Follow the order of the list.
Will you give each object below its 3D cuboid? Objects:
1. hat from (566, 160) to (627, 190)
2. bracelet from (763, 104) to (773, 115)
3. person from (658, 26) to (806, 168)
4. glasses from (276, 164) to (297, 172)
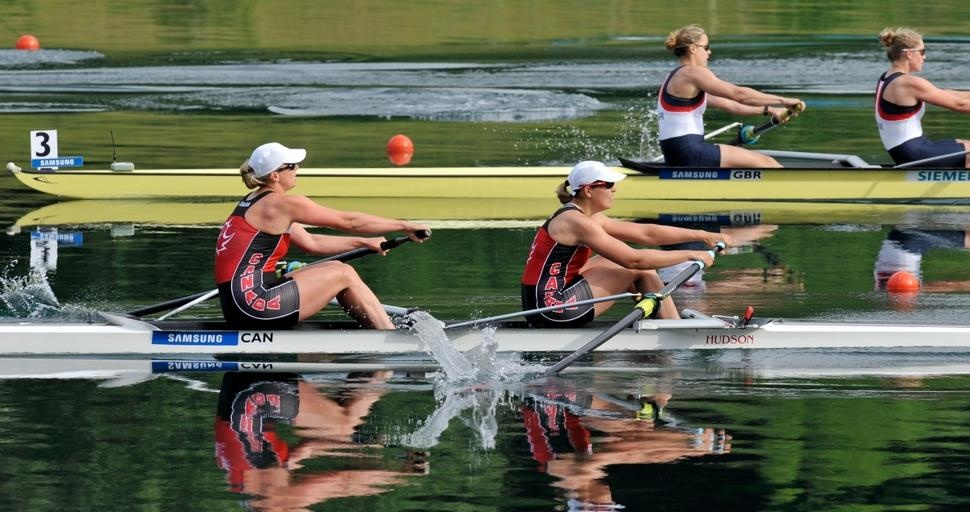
[{"bbox_3d":[1.462,-1.037,20.740,0.740,0.412,0.240,-2,7,0],"label":"hat"},{"bbox_3d":[4.736,-2.438,26.147,0.111,0.156,0.348,-2,4,10],"label":"bracelet"},{"bbox_3d":[3.793,-2.605,26.033,1.780,2.340,1.111,-2,7,4],"label":"person"},{"bbox_3d":[-2.623,-1.149,20.560,0.047,0.127,0.139,40,-3,-10],"label":"glasses"}]
